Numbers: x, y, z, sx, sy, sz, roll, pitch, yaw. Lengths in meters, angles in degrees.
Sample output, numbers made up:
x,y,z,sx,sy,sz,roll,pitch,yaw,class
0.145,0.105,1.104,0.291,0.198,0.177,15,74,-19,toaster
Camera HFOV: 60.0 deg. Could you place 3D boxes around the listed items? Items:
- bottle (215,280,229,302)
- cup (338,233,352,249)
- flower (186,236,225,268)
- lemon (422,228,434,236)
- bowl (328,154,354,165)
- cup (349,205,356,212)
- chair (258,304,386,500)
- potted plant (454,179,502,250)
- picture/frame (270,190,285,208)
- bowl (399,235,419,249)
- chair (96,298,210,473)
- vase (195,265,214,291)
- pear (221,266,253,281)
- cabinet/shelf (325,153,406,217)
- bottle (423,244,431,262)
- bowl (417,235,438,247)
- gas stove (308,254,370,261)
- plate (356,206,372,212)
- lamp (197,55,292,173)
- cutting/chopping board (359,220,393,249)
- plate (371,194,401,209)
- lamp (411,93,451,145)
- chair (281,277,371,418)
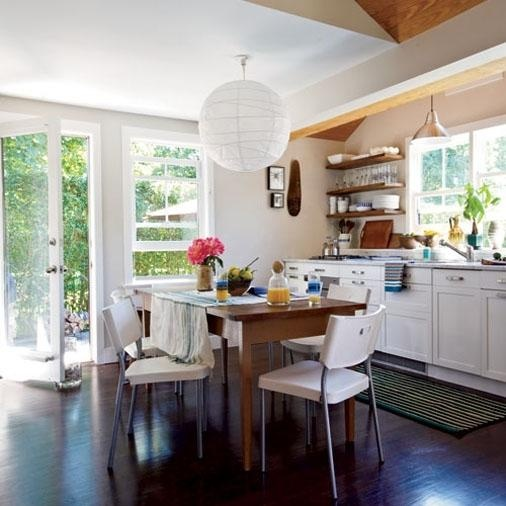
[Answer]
x,y,z,sx,sy,sz,roll,pitch,yaw,class
-0.179,0.227,2.537,0.107,0.169,0.104,0,-3,0,bottle
1.121,-0.150,5.337,0.167,0.216,0.171,0,-1,0,cup
-0.332,-0.025,3.178,0.234,0.233,0.228,-5,5,-31,flower
1.723,-0.203,4.265,0.086,0.043,0.099,5,6,33,lemon
1.099,-1.133,5.409,0.200,0.083,0.193,0,-2,0,bowl
1.223,-0.548,5.340,0.073,0.052,0.075,0,3,0,cup
0.372,0.656,2.162,0.496,0.805,0.525,0,2,42,chair
2.025,-0.342,3.932,0.305,0.613,0.359,-2,2,-43,potted plant
0.301,-0.637,5.172,0.185,0.173,0.047,1,0,-36,picture/frame
1.579,-0.106,4.430,0.143,0.097,0.141,2,-1,0,bowl
-0.510,0.681,2.724,0.761,1.118,0.756,-1,1,-5,chair
-0.350,0.182,3.168,0.164,0.238,0.159,0,-5,3,vase
-0.093,0.139,2.844,0.124,0.066,0.119,2,-4,-22,pear
1.303,-0.775,5.079,0.316,0.627,1.035,-2,5,-24,cabinet/shelf
1.648,0.009,4.124,0.061,0.114,0.166,-1,1,15,bottle
1.683,-0.118,4.223,0.119,0.090,0.122,0,1,0,bowl
0.955,0.051,4.647,0.450,0.038,0.882,-1,1,-17,gas stove
1.286,-0.516,5.080,0.073,0.071,0.179,-2,2,-45,plate
-0.048,-0.828,2.620,0.568,0.759,0.567,-2,2,-12,lamp
1.429,-0.218,5.040,0.090,0.323,0.326,10,-5,-26,cutting/chopping board
1.471,-0.566,4.781,0.190,0.099,0.202,0,-3,6,plate
1.505,-1.176,3.668,0.311,0.442,0.291,6,11,41,lamp
0.462,0.559,3.146,0.730,1.049,0.605,4,-5,-33,chair
